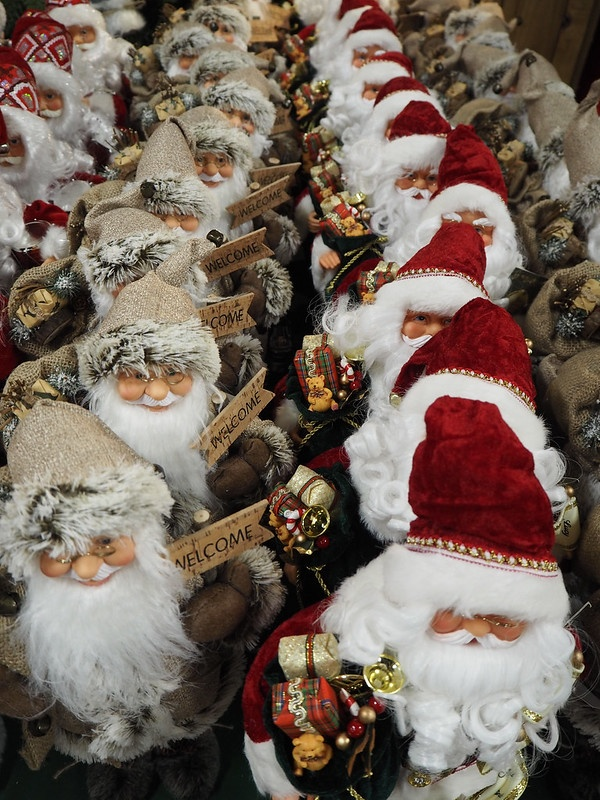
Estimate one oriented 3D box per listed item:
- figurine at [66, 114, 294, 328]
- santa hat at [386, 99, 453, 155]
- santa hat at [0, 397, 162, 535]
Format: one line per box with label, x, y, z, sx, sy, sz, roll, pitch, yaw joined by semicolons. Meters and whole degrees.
figurine;-0.581;-0.495;2.872;0.634;0.350;0.748;-37;42;16
santa hat;0.474;-1.115;3.393;0.260;0.206;0.100;-4;46;1
santa hat;-0.609;0.181;2.228;0.363;0.216;0.375;-25;57;-22
